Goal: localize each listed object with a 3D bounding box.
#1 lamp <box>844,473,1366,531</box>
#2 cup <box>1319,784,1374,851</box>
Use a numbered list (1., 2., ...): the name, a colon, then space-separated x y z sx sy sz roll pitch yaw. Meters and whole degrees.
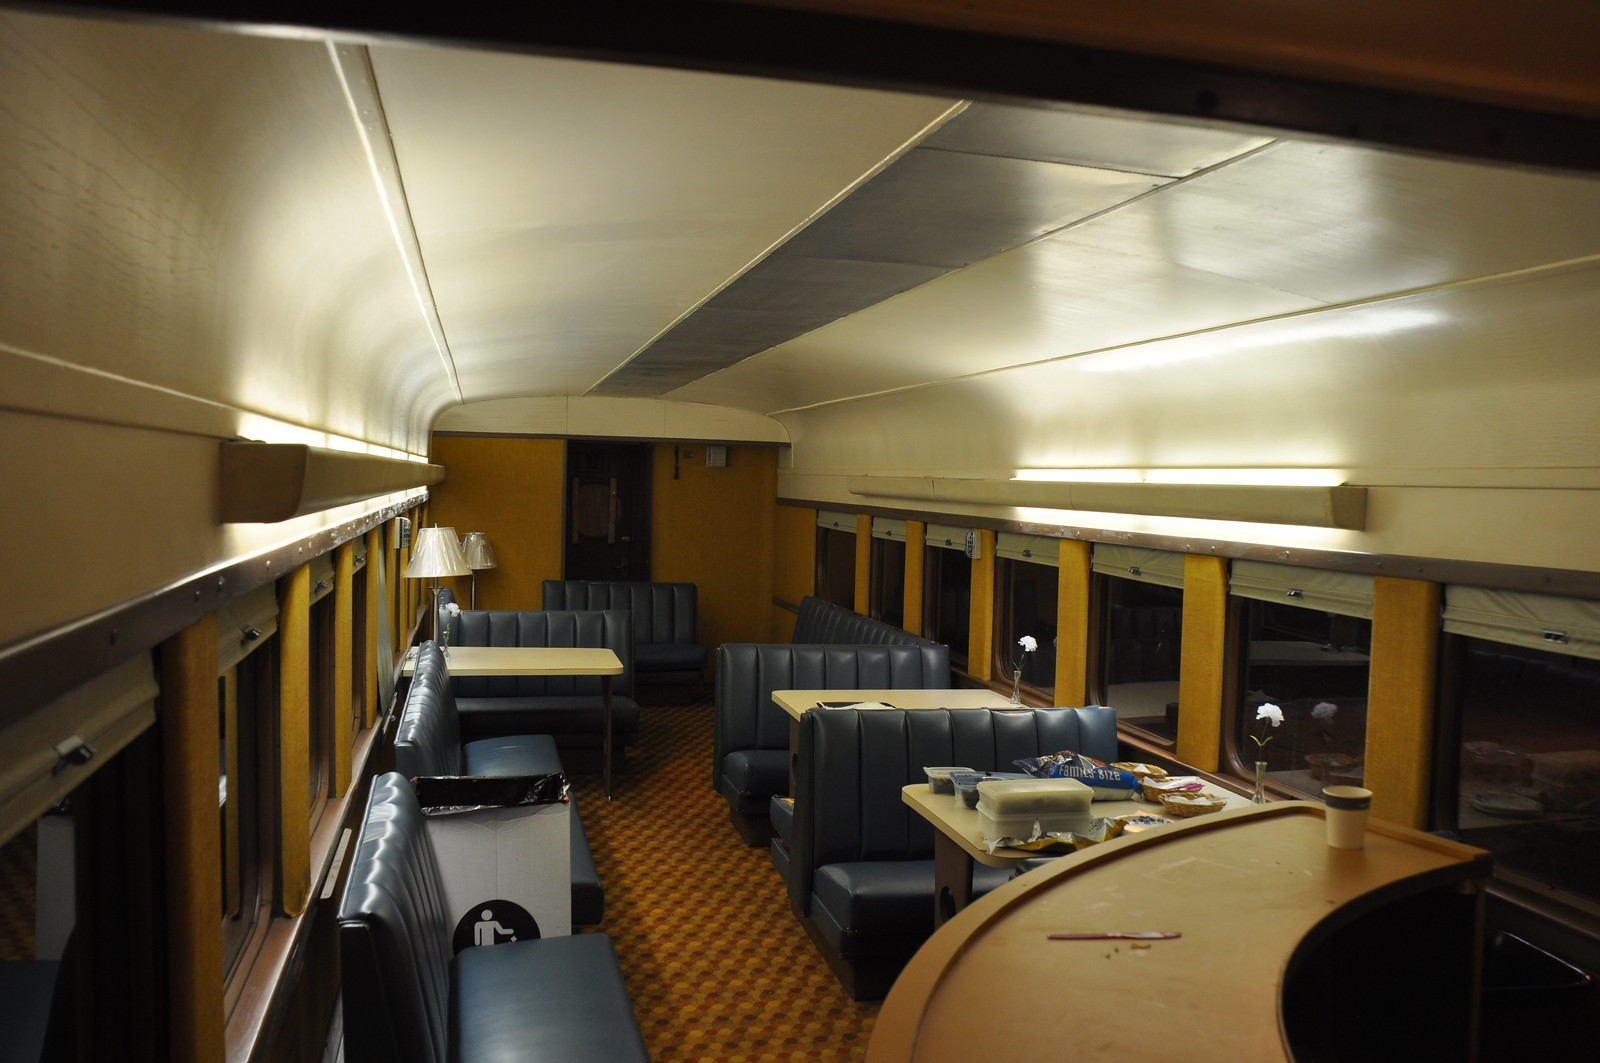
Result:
1. lamp: 1.674 -0.238 6.338 0.218 0.279 3.872 -4 6 -22
2. cup: 2.064 1.069 3.992 0.218 0.217 0.217 2 4 0
